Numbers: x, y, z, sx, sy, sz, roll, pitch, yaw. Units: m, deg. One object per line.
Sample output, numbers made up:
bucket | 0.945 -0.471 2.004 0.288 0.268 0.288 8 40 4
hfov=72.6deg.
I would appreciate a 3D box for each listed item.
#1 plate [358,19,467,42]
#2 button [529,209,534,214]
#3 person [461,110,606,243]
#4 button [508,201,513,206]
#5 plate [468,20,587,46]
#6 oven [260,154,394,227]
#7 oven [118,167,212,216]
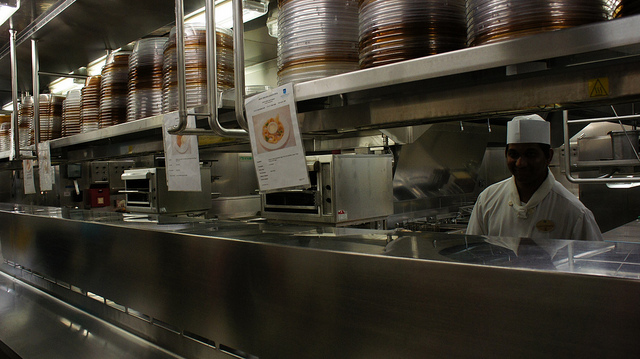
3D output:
plate | 0.422 -0.690 2.016 0.530 0.114 0.496 -4 18 -8
button | 1.289 0.189 2.658 0.032 0.027 0.007 -1 -2 32
person | 1.322 -0.025 2.719 0.752 0.771 0.292 1 7 29
button | 1.197 0.143 2.737 0.008 0.031 0.035 0 -1 -42
plate | 0.841 -0.616 1.846 0.464 0.099 0.458 17 27 33
oven | 0.065 0.099 4.811 1.468 0.575 1.326 -2 1 12
oven | -1.757 0.120 4.960 0.799 0.436 0.971 -1 1 -35
